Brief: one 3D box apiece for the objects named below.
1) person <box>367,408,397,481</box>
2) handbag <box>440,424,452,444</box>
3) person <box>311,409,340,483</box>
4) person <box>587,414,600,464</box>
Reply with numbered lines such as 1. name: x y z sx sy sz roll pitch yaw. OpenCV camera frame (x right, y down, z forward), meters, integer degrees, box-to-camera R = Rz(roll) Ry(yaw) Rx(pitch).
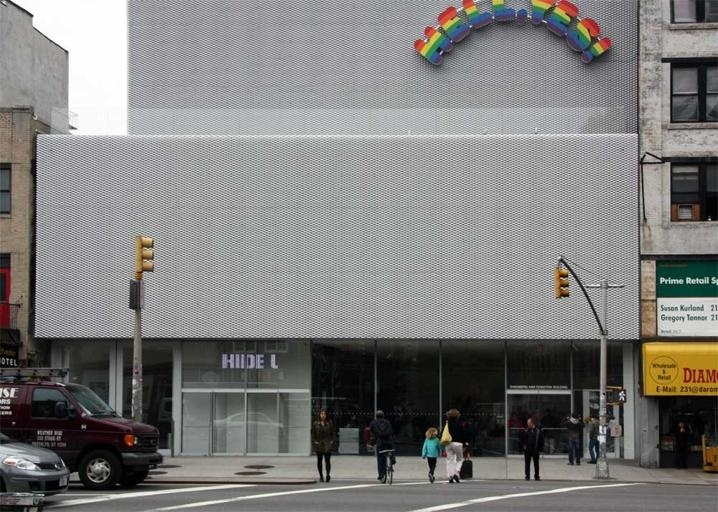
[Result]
1. person: 0.859 7.077 63.168 0.908 2.661 1.386 -1 -11 0
2. handbag: 3.303 6.582 62.801 0.409 0.808 0.697 -2 -11 9
3. person: -1.371 7.056 62.897 1.014 2.636 0.698 -2 -2 21
4. person: 9.934 7.512 69.576 0.433 2.015 1.178 -2 -11 7
